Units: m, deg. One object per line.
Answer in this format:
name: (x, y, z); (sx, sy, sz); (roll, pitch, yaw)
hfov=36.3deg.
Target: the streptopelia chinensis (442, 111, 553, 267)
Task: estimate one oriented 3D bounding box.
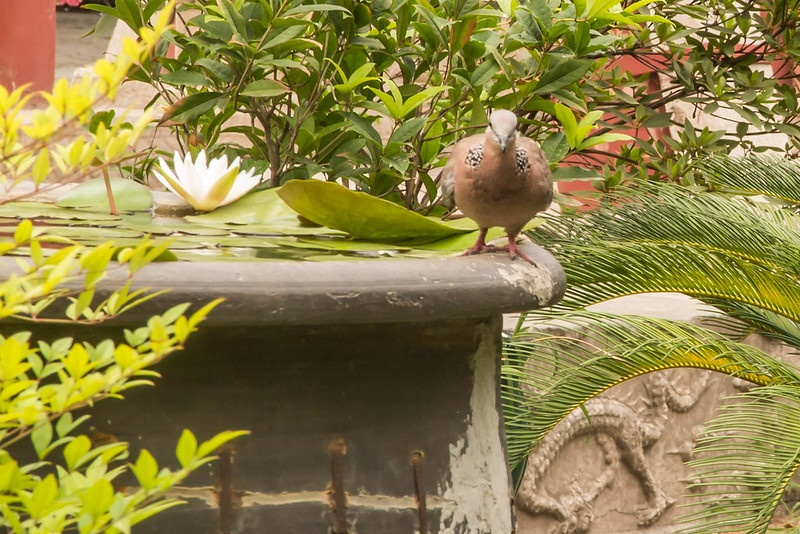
streptopelia chinensis: (0.240, -0.192, 3.004); (0.292, 0.340, 0.439); (4, 9, 4)
